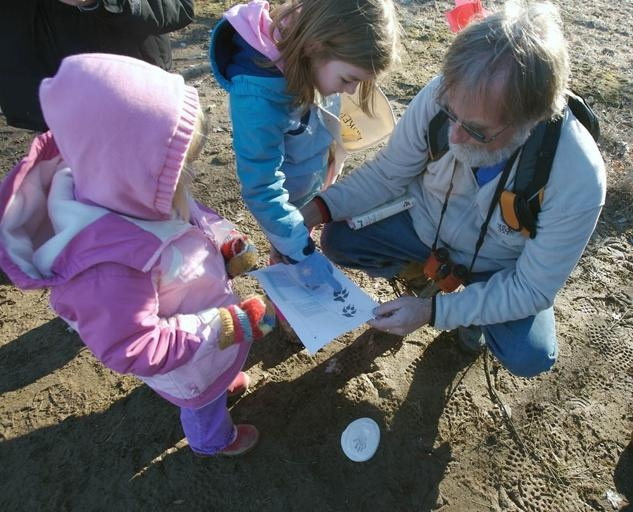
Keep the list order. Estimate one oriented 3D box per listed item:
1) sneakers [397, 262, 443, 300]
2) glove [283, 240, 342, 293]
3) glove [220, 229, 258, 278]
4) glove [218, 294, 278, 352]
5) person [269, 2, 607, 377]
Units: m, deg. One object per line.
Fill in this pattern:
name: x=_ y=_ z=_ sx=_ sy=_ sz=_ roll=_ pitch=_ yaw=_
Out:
sneakers: x=0.661 y=0.182 z=4.221 sx=0.222 sy=0.207 sz=0.357 roll=10 pitch=37 yaw=9
glove: x=-0.028 y=0.091 z=3.724 sx=0.367 sy=0.132 sz=0.218 roll=44 pitch=81 yaw=-2
glove: x=-0.425 y=-0.006 z=3.606 sx=0.160 sy=0.249 sz=0.236 roll=23 pitch=43 yaw=24
glove: x=-0.368 y=0.336 z=3.296 sx=0.299 sy=0.201 sz=0.126 roll=-31 pitch=15 yaw=-22
person: x=0.650 y=-0.288 z=3.656 sx=1.239 sy=1.591 sz=1.140 roll=-40 pitch=69 yaw=-10
